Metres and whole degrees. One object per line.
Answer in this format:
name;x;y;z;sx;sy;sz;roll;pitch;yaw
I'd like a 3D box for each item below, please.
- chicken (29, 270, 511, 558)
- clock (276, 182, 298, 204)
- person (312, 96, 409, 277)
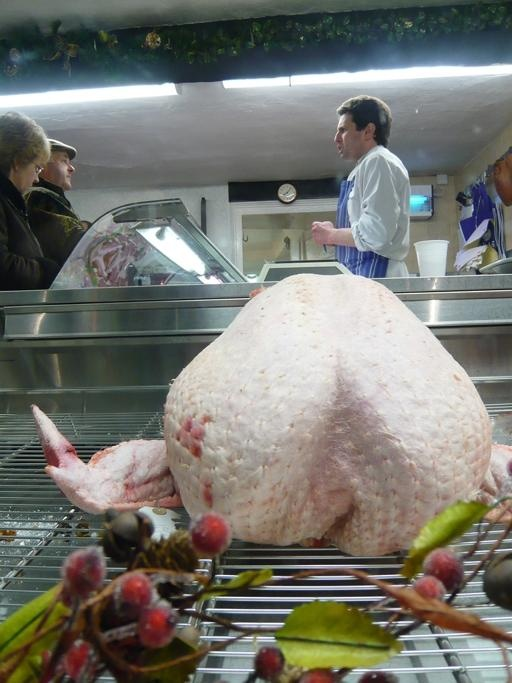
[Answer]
chicken;0.062;0.071;0.769;0.320;0.292;0.268;-4;4;-14
clock;0.199;-0.982;4.670;0.136;0.130;0.074;-3;5;8
person;0.314;-0.338;2.242;0.343;0.788;0.400;-1;15;1
